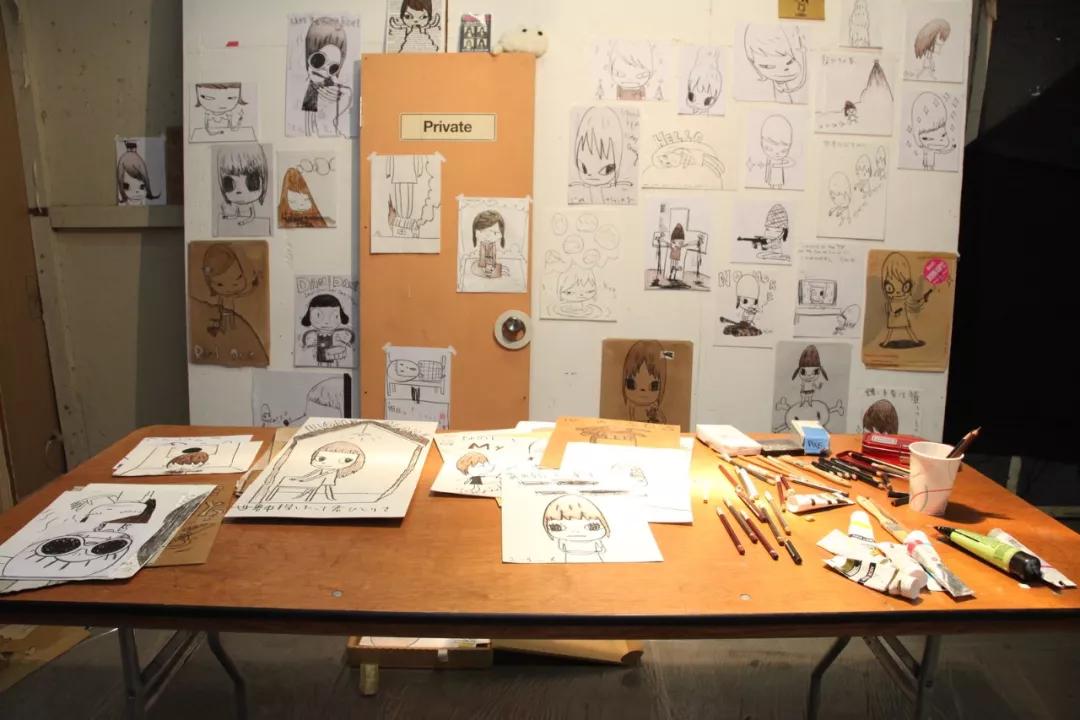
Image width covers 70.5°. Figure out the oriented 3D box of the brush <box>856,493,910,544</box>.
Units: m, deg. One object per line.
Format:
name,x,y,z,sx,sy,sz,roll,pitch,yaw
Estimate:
brush,1.162,0.540,2.606,0.057,0.025,0.242,-3,25,-10
